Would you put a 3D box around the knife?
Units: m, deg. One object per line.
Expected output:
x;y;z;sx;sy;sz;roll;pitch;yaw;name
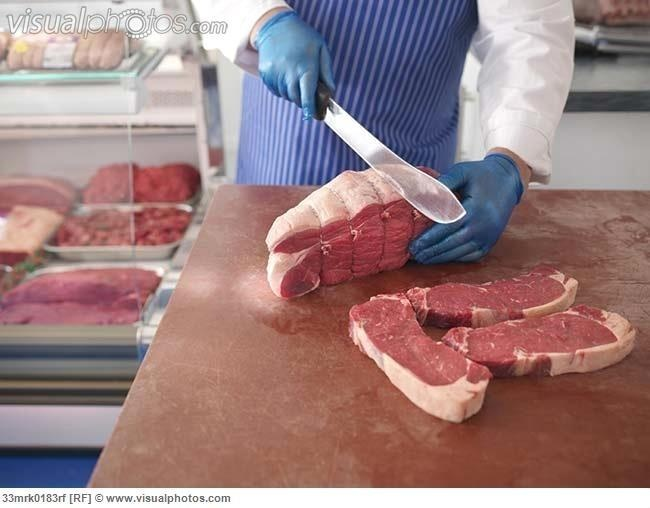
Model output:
0.178;-0.321;1.825;0.535;0.365;0.167;20;35;39;knife
